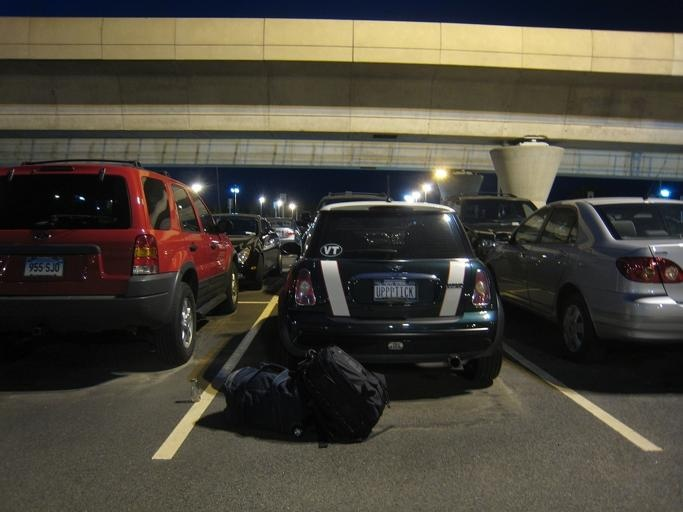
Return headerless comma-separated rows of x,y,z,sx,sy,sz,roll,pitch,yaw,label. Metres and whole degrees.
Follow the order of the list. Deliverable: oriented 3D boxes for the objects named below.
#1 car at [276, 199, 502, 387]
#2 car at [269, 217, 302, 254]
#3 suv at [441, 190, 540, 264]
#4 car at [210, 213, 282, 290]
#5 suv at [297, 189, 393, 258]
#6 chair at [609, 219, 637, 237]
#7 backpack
0.526,0.168,5.032,1.354,1.140,2.290,-1,7,-2,car
-2.333,-1.108,22.331,1.622,1.350,3.884,0,7,3,car
3.871,-0.649,12.668,1.540,1.335,2.649,0,15,-3,suv
-2.272,-0.212,12.144,1.178,1.040,2.971,0,0,2,car
0.178,-0.890,11.609,1.270,1.299,2.291,1,13,3,suv
3.279,-0.315,5.804,0.273,0.178,0.372,3,8,21,chair
-0.007,1.156,4.256,0.802,0.727,0.415,-1,8,-7,backpack
